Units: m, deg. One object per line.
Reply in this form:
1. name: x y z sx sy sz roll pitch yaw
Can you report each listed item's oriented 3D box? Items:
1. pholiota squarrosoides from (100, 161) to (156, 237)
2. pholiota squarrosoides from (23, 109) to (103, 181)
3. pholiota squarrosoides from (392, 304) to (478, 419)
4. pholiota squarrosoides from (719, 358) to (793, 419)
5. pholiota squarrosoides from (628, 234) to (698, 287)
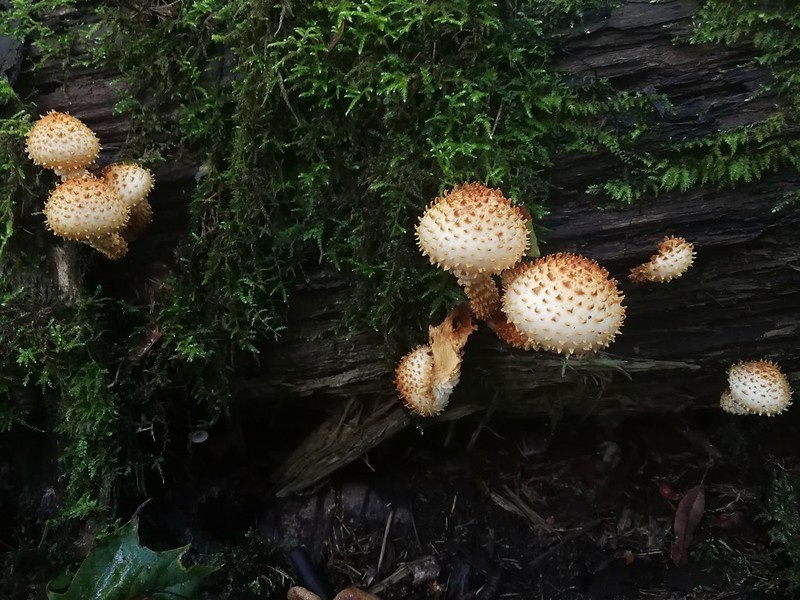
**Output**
1. pholiota squarrosoides: -1.712 -0.652 5.210 0.342 0.373 0.334 24 43 30
2. pholiota squarrosoides: -2.035 -0.994 5.188 0.460 0.409 0.397 -15 32 -25
3. pholiota squarrosoides: 0.259 0.395 5.282 0.682 0.468 0.378 -28 46 -5
4. pholiota squarrosoides: 2.331 0.551 5.633 0.471 0.383 0.404 -1 8 -8
5. pholiota squarrosoides: 1.660 -0.213 5.345 0.418 0.402 0.198 -9 82 -19
